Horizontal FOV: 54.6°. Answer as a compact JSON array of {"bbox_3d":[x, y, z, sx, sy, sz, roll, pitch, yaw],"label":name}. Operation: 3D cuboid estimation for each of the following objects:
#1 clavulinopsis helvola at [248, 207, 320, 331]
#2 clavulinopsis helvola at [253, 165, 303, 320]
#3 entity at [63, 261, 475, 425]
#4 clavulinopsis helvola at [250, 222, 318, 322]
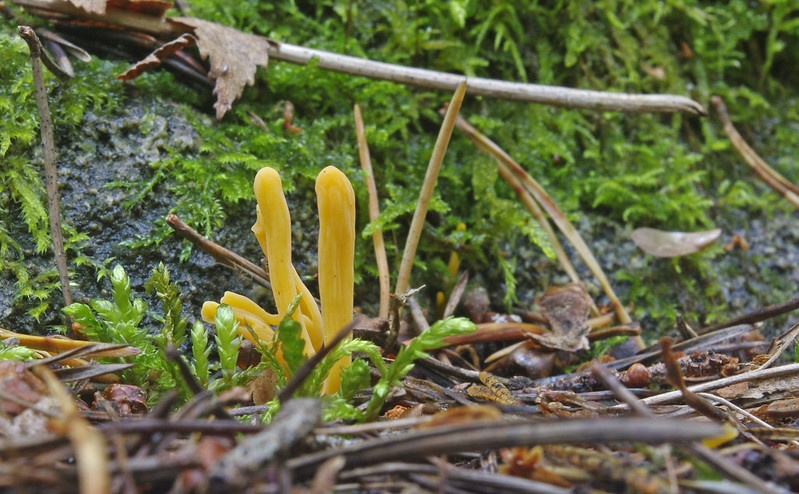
[{"bbox_3d":[-0.407,0.128,2.855,0.206,0.510,0.209,-9,16,-27],"label":"clavulinopsis helvola"},{"bbox_3d":[-0.427,-0.022,2.728,0.133,0.544,0.132,3,5,-10],"label":"clavulinopsis helvola"},{"bbox_3d":[-0.324,0.353,2.906,1.063,0.406,0.968,10,-12,13],"label":"entity"},{"bbox_3d":[-0.429,-0.035,2.752,0.110,0.506,0.122,-21,27,-31],"label":"clavulinopsis helvola"}]
